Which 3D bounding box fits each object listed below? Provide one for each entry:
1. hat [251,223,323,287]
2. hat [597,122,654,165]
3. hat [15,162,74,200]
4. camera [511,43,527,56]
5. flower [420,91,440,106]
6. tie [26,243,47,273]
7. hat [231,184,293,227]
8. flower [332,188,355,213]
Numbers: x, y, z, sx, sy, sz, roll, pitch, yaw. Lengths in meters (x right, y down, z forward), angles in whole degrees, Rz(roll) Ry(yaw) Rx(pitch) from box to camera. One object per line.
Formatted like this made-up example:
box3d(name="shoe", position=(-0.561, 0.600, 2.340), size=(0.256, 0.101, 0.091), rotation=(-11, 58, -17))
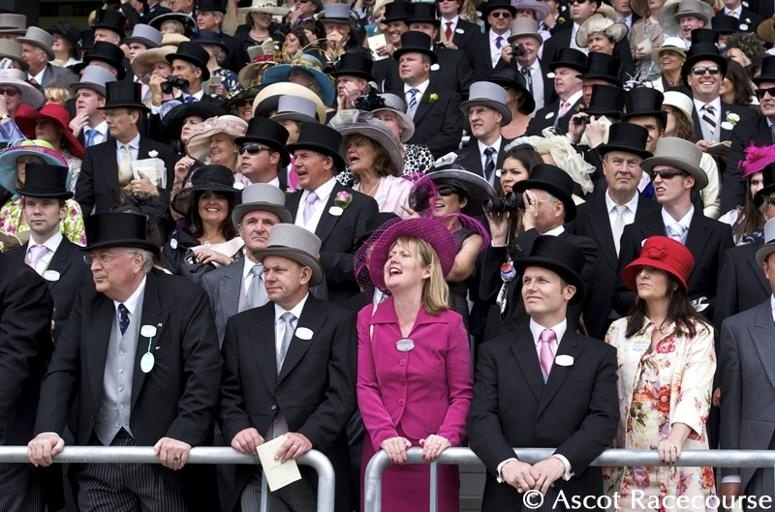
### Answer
box3d(name="hat", position=(-0.796, 0.000, 10.635), size=(0.442, 0.267, 0.526), rotation=(0, -28, 42))
box3d(name="hat", position=(2.294, -1.082, 11.952), size=(0.374, 0.201, 0.421), rotation=(4, -13, 26))
box3d(name="hat", position=(-3.212, -0.685, 11.718), size=(0.416, 0.191, 0.377), rotation=(6, 3, 21))
box3d(name="camera", position=(1.647, -2.543, 15.493), size=(0.126, 0.165, 0.145), rotation=(46, 26, -8))
box3d(name="flower", position=(0.525, -1.875, 14.968), size=(0.161, 0.139, 0.058), rotation=(26, -16, 41))
box3d(name="tie", position=(-3.313, 0.037, 11.721), size=(0.227, 0.255, 0.080), rotation=(11, -14, -9))
box3d(name="hat", position=(-1.123, -0.394, 11.307), size=(0.413, 0.199, 0.426), rotation=(0, -24, -2))
box3d(name="flower", position=(-0.417, -0.499, 11.767), size=(0.195, 0.198, 0.078), rotation=(39, 11, 13))
